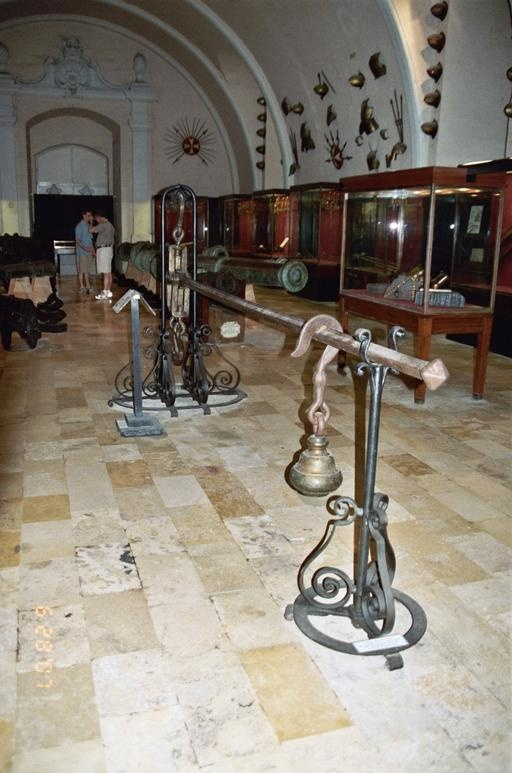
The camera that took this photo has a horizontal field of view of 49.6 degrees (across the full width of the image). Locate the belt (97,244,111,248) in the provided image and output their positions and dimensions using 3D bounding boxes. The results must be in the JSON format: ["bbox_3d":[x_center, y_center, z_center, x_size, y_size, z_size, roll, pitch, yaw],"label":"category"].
[{"bbox_3d":[-3.240,-2.994,11.731,0.233,0.071,0.080,-2,9,-23],"label":"belt"}]

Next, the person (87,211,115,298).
[{"bbox_3d":[-3.399,-2.844,12.277,0.428,1.883,1.479,-1,9,-15],"label":"person"}]
